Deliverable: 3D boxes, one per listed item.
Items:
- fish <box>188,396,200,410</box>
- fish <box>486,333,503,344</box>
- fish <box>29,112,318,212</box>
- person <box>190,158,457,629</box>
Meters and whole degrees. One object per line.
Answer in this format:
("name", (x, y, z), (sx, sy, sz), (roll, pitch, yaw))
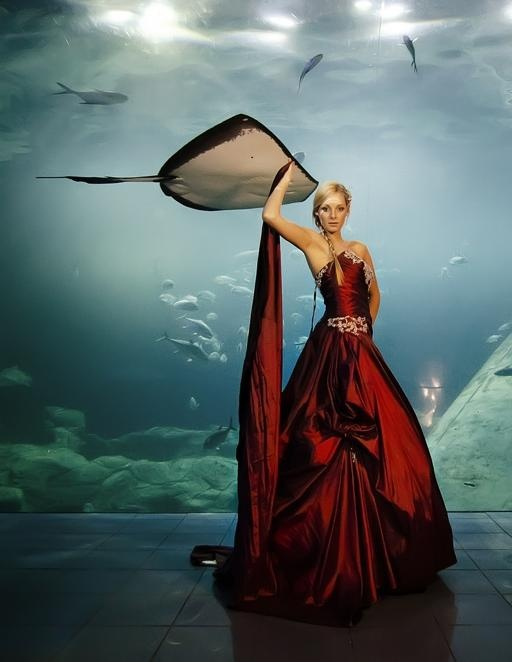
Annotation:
("fish", (-0.844, 0.979, 7.307), (0.150, 0.158, 0.050), (-10, 9, -37))
("fish", (3.112, 0.107, 7.013), (0.090, 0.093, 0.370), (-3, -2, 41))
("fish", (-0.343, -0.830, 2.654), (1.160, 0.071, 0.692), (-7, -19, -1))
("person", (0.323, 0.231, 2.558), (1.098, 2.078, 0.502), (-2, -2, -5))
